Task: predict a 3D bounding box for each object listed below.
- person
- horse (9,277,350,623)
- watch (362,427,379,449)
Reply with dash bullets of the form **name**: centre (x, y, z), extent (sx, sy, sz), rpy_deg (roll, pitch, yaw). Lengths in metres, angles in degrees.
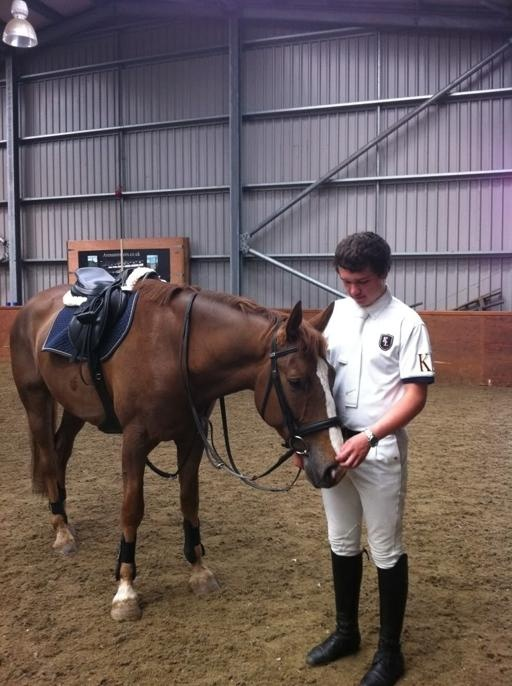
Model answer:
- **person**: centre (0.391, 0.393, 2.520), extent (0.441, 1.552, 0.426), rpy_deg (7, 11, 37)
- **horse**: centre (-0.498, 0.445, 3.203), extent (2.107, 1.396, 0.549), rpy_deg (8, 11, 43)
- **watch**: centre (0.378, 0.312, 2.331), extent (0.047, 0.070, 0.066), rpy_deg (-5, -8, 1)
